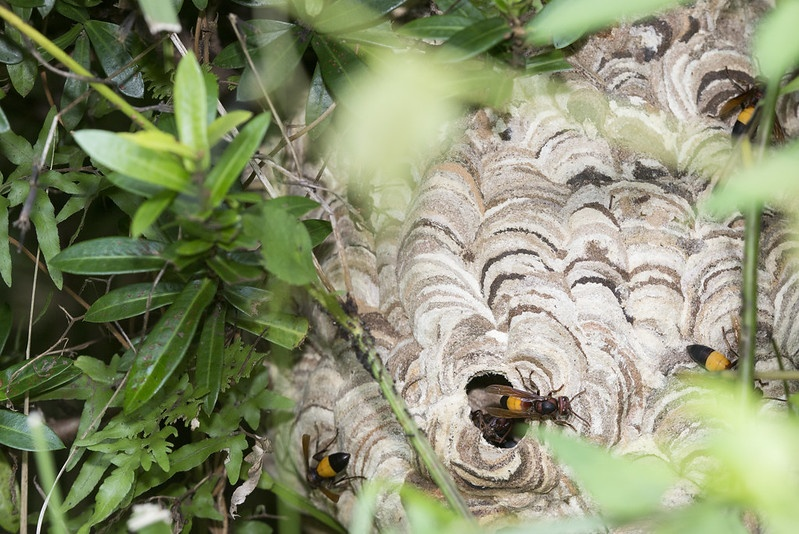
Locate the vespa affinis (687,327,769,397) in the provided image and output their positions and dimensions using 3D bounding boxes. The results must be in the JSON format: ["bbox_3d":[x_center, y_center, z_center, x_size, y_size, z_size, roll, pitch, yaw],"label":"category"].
[{"bbox_3d":[1.637,0.498,4.071,0.325,0.244,0.096,27,11,-3],"label":"vespa affinis"}]
